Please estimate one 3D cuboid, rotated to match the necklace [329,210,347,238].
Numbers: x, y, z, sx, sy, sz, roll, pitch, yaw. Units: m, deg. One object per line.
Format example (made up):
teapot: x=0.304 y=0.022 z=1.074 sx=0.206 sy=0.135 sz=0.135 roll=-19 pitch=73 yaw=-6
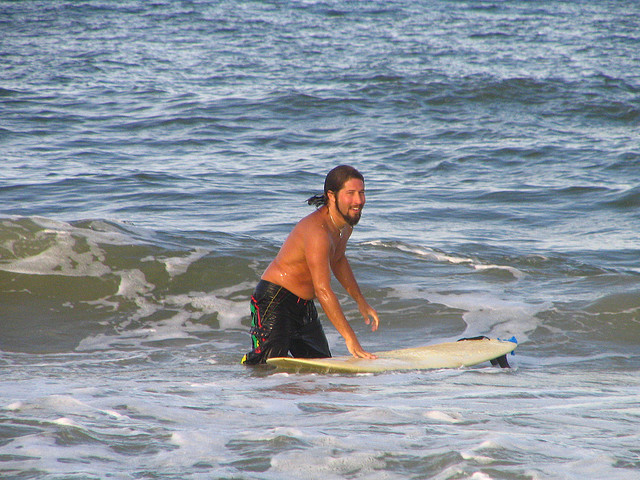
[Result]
necklace: x=0.428 y=-0.310 z=26.070 sx=0.399 sy=0.496 sz=0.104 roll=-20 pitch=42 yaw=-22
